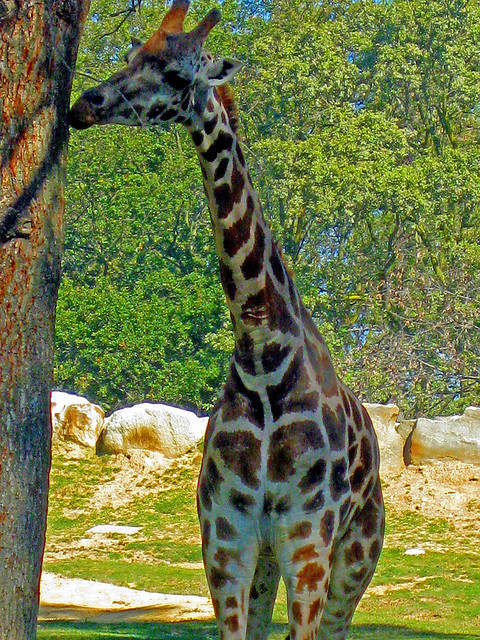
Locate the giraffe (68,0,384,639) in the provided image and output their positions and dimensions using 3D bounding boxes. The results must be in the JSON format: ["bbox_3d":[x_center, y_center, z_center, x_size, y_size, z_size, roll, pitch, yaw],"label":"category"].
[{"bbox_3d":[0.144,0.188,23.001,2.877,6.845,1.415,1,8,-4],"label":"giraffe"}]
